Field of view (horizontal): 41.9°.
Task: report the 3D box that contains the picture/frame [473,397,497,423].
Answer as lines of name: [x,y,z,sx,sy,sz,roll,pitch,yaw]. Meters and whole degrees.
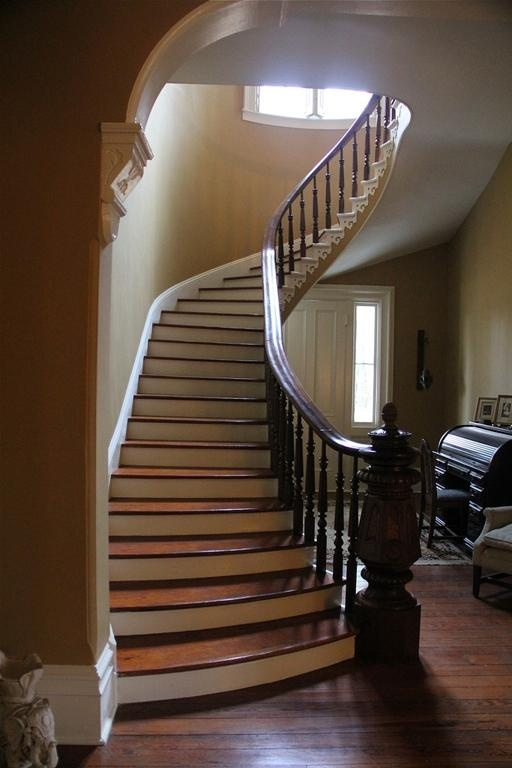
picture/frame: [1.940,0.225,5.636,0.021,0.214,0.208,9,2,-14]
